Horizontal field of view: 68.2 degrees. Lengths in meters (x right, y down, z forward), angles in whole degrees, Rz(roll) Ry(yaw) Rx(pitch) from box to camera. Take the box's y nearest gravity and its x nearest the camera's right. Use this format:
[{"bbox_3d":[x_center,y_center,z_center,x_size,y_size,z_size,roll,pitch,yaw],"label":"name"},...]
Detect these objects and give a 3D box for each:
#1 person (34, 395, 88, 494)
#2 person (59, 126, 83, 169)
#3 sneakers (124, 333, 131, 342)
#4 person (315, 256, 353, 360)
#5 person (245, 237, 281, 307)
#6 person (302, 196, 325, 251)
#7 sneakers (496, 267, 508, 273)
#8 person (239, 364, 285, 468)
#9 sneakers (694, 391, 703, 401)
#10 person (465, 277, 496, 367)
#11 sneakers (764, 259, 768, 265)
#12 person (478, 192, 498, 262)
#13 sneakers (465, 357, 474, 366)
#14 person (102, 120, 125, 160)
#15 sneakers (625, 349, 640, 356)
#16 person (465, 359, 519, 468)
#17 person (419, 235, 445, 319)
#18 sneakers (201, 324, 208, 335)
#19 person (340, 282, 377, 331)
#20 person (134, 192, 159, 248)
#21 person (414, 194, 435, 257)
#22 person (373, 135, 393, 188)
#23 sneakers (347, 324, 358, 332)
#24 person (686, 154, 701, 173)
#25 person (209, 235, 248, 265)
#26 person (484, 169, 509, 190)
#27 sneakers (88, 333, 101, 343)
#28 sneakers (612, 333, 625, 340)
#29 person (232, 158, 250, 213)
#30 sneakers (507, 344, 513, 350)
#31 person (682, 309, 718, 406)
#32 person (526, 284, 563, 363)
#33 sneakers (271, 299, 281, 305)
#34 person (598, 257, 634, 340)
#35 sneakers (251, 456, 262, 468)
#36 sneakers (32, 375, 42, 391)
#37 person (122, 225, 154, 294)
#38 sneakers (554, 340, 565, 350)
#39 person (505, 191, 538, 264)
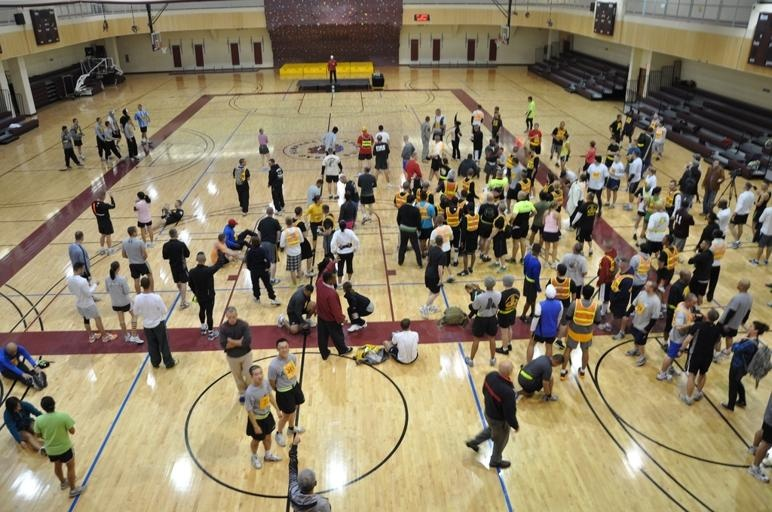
[{"bbox_3d":[-7.248,4.161,12.742,0.687,2.331,1.165,-20,32,-37],"label":"person"},{"bbox_3d":[-14.237,-5.048,25.768,0.687,1.861,1.434,-13,29,-26],"label":"person"},{"bbox_3d":[-7.194,2.277,16.032,0.102,0.131,0.301,2,30,-8],"label":"sneakers"},{"bbox_3d":[-1.422,1.483,15.148,0.813,2.574,0.825,-4,25,-8],"label":"person"},{"bbox_3d":[-3.631,0.358,16.847,0.746,2.271,0.639,1,37,0],"label":"person"},{"bbox_3d":[-2.193,-1.123,18.828,0.729,1.827,0.576,-8,23,-34],"label":"person"},{"bbox_3d":[3.709,0.427,18.266,0.381,0.183,0.137,-1,17,3],"label":"sneakers"},{"bbox_3d":[-2.852,3.510,13.037,0.662,2.634,0.821,-6,26,-14],"label":"person"},{"bbox_3d":[7.876,3.542,14.437,0.157,0.156,0.102,-30,51,5],"label":"sneakers"},{"bbox_3d":[2.546,1.619,14.973,0.786,2.601,0.706,-6,27,-14],"label":"person"},{"bbox_3d":[12.420,0.170,18.692,0.078,0.098,0.224,3,29,22],"label":"sneakers"},{"bbox_3d":[3.230,-1.001,18.306,0.681,2.173,0.614,11,25,16],"label":"person"},{"bbox_3d":[2.236,2.812,15.240,0.116,0.167,0.252,0,47,-6],"label":"sneakers"},{"bbox_3d":[-12.474,-5.293,26.187,0.789,1.821,0.631,-6,36,-19],"label":"person"},{"bbox_3d":[6.647,2.587,15.461,0.334,0.154,0.130,6,36,-4],"label":"sneakers"},{"bbox_3d":[2.525,3.548,12.929,1.065,2.678,0.664,13,28,25],"label":"person"},{"bbox_3d":[1.371,0.513,16.437,0.723,2.392,0.449,-16,29,-30],"label":"person"},{"bbox_3d":[-5.127,2.074,16.255,0.125,0.243,0.378,-2,23,-4],"label":"sneakers"},{"bbox_3d":[-0.800,1.429,16.038,0.909,1.481,0.834,5,18,4],"label":"person"},{"bbox_3d":[-8.202,-1.319,19.502,0.535,1.862,0.514,-4,25,-23],"label":"person"},{"bbox_3d":[1.331,-1.055,18.633,0.688,2.301,0.646,1,22,19],"label":"person"},{"bbox_3d":[-0.149,-4.064,23.541,0.652,2.119,0.671,1,37,3],"label":"person"},{"bbox_3d":[-0.926,2.028,16.175,0.282,0.225,0.142,-1,9,9],"label":"sneakers"},{"bbox_3d":[10.984,-3.432,20.322,0.397,0.685,1.015,13,29,25],"label":"person"},{"bbox_3d":[-4.824,-0.185,17.744,0.683,0.769,0.390,-16,57,-23],"label":"person"},{"bbox_3d":[3.981,-2.721,20.166,0.568,0.792,0.739,1,26,2],"label":"person"},{"bbox_3d":[-8.170,2.299,16.127,0.300,0.118,0.169,-35,85,-40],"label":"sneakers"},{"bbox_3d":[6.465,2.240,15.919,0.229,0.100,0.157,-17,17,7],"label":"sneakers"},{"bbox_3d":[-5.254,-2.671,21.115,0.450,2.269,1.329,-7,26,-15],"label":"person"},{"bbox_3d":[3.377,2.463,15.570,0.082,0.181,0.185,-1,40,3],"label":"sneakers"},{"bbox_3d":[7.763,2.434,14.121,0.824,2.461,0.537,-15,29,-30],"label":"person"},{"bbox_3d":[4.086,1.858,14.757,0.699,2.404,0.638,9,24,13],"label":"person"},{"bbox_3d":[-3.267,1.369,17.121,0.262,0.127,0.106,2,32,-40],"label":"sneakers"},{"bbox_3d":[6.370,1.172,15.822,0.627,2.324,0.782,3,46,11],"label":"person"},{"bbox_3d":[-2.968,4.776,13.209,0.158,0.120,0.307,-13,44,-34],"label":"sneakers"},{"bbox_3d":[-8.945,3.271,14.806,0.190,0.364,0.156,-5,26,-11],"label":"sneakers"},{"bbox_3d":[-7.294,0.155,17.009,0.785,2.247,0.655,-11,32,-23],"label":"person"},{"bbox_3d":[4.734,2.397,15.524,0.121,0.161,0.353,9,38,-5],"label":"sneakers"},{"bbox_3d":[4.433,-0.987,18.649,0.760,2.387,1.422,6,26,13],"label":"person"}]
